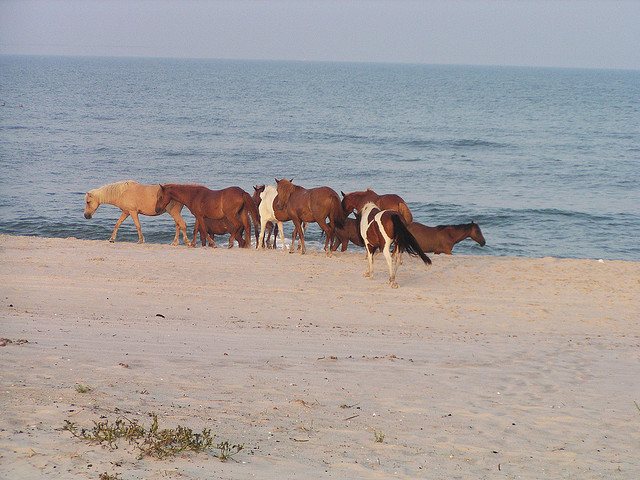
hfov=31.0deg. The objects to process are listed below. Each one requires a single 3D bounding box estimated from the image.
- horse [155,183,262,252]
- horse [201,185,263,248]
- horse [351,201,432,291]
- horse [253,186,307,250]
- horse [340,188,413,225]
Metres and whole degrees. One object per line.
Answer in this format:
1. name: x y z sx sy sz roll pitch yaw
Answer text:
1. horse: -5.194 -1.102 55.153 5.725 3.358 1.499 0 -2 24
2. horse: -5.073 -1.373 56.555 5.263 3.156 1.367 2 -3 39
3. horse: 2.955 0.153 51.073 2.444 3.548 3.691 1 10 -9
4. horse: -1.824 -1.253 55.434 2.324 3.086 2.130 -6 18 -6
5. horse: 2.604 -1.249 53.360 3.939 1.960 1.078 6 12 41
